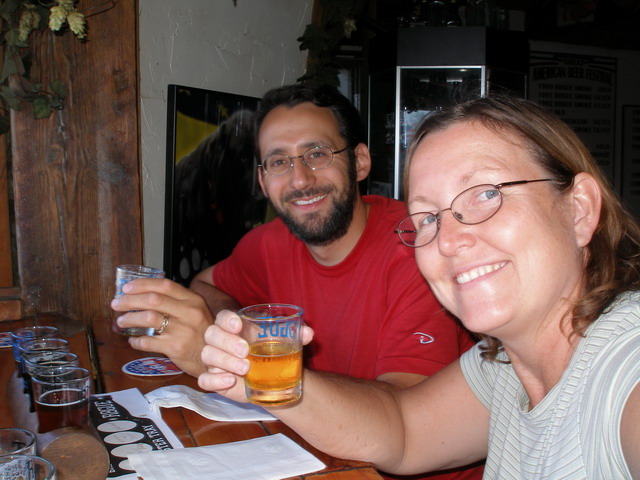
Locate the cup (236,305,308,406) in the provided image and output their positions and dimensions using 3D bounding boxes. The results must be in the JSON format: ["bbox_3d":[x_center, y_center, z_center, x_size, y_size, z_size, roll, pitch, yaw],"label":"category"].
[{"bbox_3d":[-0.128,0.306,1.387,0.171,0.255,0.131,-2,3,-4],"label":"cup"}]

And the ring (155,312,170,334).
[{"bbox_3d":[-0.508,0.274,1.674,0.052,0.062,0.019,-1,4,14],"label":"ring"}]

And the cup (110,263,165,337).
[{"bbox_3d":[-0.612,0.210,1.778,0.152,0.243,0.264,-2,3,-10],"label":"cup"}]
